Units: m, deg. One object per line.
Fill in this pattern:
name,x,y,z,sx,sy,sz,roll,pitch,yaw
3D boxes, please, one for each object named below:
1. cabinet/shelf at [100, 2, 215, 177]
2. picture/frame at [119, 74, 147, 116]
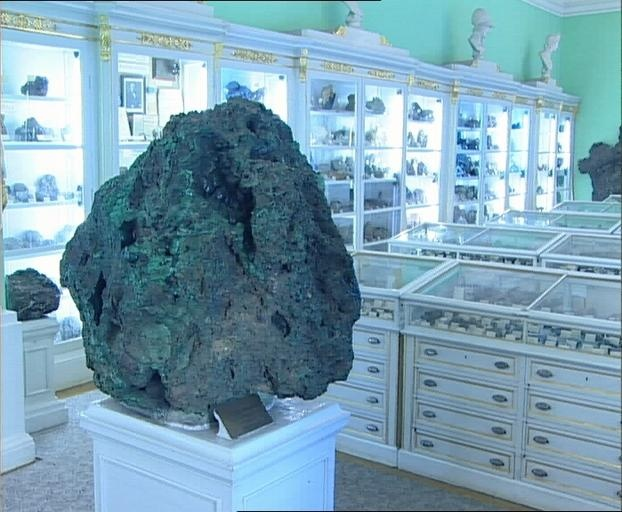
cabinet/shelf,-1.357,-1.493,5.557,0.435,1.586,1.105,7,11,37
picture/frame,-1.607,-1.455,5.509,0.045,0.415,0.373,8,9,33
